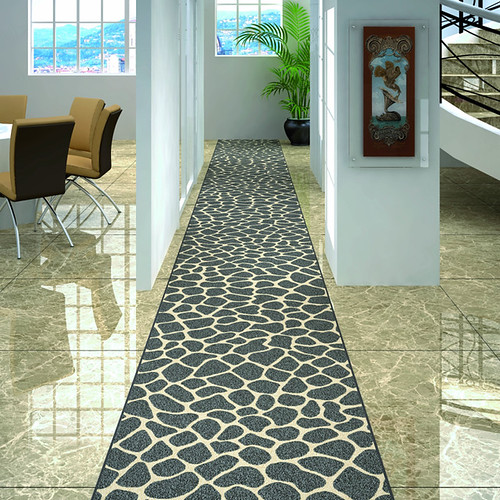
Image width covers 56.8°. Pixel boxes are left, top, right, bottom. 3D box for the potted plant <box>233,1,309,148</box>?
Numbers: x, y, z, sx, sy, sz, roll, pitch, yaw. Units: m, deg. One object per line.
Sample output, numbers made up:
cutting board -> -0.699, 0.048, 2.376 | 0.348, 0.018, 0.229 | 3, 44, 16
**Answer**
potted plant -> 0.648, -4.347, 11.318 | 1.629, 3.488, 1.534 | 0, 14, 0
